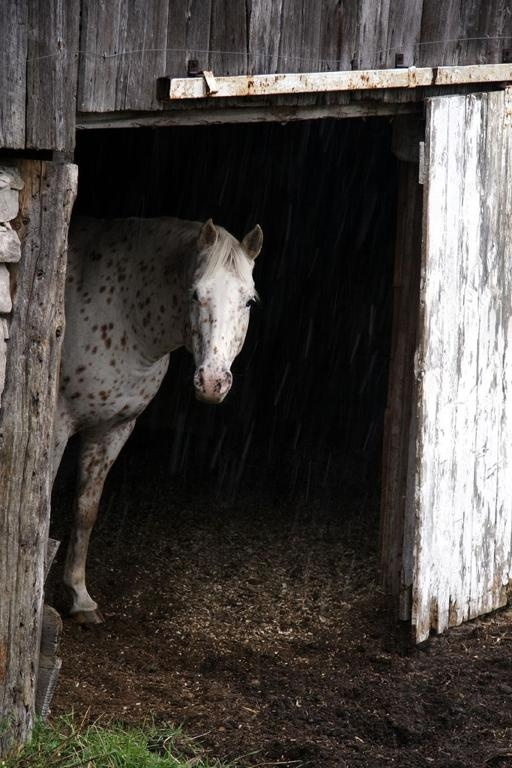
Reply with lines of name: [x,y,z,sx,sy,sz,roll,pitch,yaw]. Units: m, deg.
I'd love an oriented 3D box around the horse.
horse: [-0.530,0.124,4.416,0.573,1.921,1.302,11,-10,-34]
